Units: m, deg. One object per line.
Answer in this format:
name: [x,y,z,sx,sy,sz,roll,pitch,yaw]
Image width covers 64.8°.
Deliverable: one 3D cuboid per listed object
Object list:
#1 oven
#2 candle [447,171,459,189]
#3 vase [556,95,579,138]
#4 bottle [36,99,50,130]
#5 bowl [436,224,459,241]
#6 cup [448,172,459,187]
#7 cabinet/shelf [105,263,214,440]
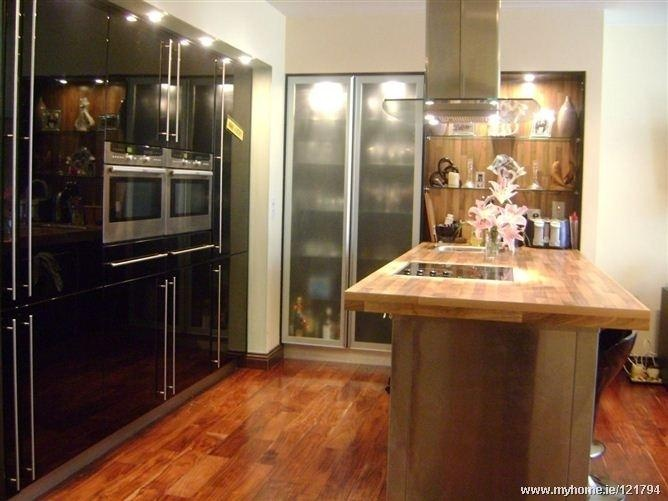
oven: [-1.260,-0.383,3.568,0.357,0.645,1.069,7,8,22]
candle: [1.060,-0.627,4.686,0.114,0.141,0.115,-2,7,-27]
vase: [2.020,-1.158,4.573,0.190,0.370,0.200,2,5,10]
bottle: [-1.432,-0.672,2.597,0.012,0.149,0.068,3,8,15]
bowl: [0.986,-0.155,4.591,0.197,0.155,0.152,0,8,-8]
cup: [1.060,-0.633,4.686,0.112,0.138,0.114,1,6,0]
cabinet/shelf: [-1.174,0.668,3.472,0.346,0.963,1.052,0,1,8]
